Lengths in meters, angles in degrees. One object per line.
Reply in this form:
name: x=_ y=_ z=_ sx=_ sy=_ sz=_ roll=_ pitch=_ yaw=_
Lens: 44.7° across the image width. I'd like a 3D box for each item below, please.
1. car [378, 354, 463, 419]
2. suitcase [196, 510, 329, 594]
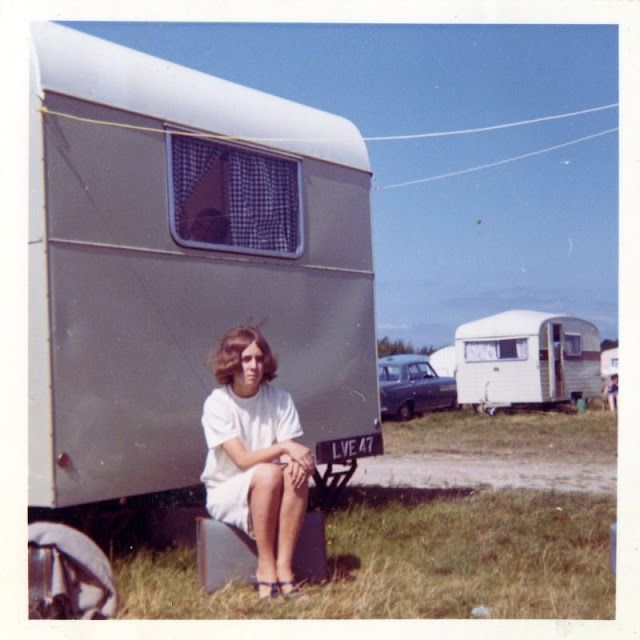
car: x=1.776 y=1.287 z=14.023 sx=2.007 sy=1.189 sz=0.858 roll=-4 pitch=-10 yaw=-30
suitcase: x=-0.280 y=1.212 z=4.025 sx=0.701 sy=0.299 sz=0.205 roll=-4 pitch=-1 yaw=-19
